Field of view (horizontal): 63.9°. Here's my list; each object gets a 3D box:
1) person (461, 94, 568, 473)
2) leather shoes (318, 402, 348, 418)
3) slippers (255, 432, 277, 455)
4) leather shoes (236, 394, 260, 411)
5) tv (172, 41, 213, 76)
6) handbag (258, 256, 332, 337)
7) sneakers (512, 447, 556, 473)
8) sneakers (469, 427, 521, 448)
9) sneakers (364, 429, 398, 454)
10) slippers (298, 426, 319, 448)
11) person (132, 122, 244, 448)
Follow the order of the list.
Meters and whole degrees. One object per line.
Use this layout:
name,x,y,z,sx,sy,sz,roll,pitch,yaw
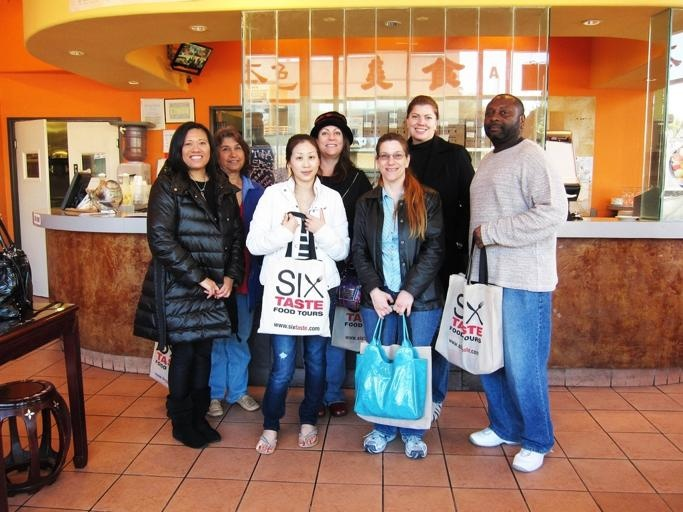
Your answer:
person,0.999,0.140,3.123,0.370,2.049,0.645,-9,17,-29
leather shoes,-0.046,1.027,3.692,0.259,0.100,0.098,-4,-1,19
slippers,-0.457,1.102,3.204,0.068,0.071,0.179,1,-6,0
leather shoes,-0.654,1.008,3.794,0.162,0.060,0.080,6,7,37
tv,-1.949,-2.549,7.123,0.463,0.398,0.079,18,-1,17
handbag,-0.263,0.227,3.144,0.504,0.456,0.162,2,-2,0
sneakers,1.101,1.161,3.128,0.241,0.089,0.085,4,-8,-42
sneakers,0.945,1.105,3.375,0.308,0.122,0.106,3,-2,-1
sneakers,0.241,1.113,3.316,0.092,0.084,0.212,2,0,43
slippers,-0.208,1.092,3.328,0.086,0.056,0.148,1,2,2
person,-0.898,0.161,3.391,0.514,1.915,0.616,9,18,33
